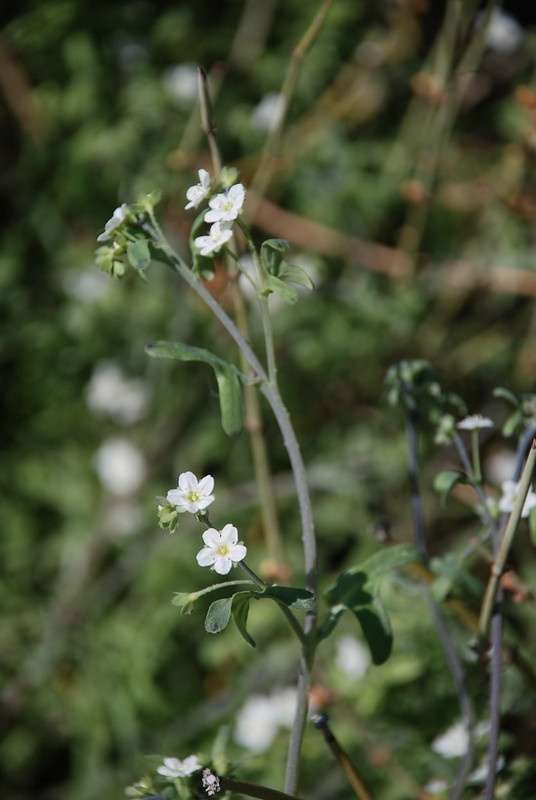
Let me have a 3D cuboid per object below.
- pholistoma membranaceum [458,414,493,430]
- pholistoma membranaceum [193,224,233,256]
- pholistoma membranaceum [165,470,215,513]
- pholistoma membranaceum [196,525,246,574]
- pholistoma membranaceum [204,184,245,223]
[{"bbox_3d":[0.288,0.030,1.174,0.043,0.016,0.040,-2,5,-12],"label":"pholistoma membranaceum"},{"bbox_3d":[-0.065,-0.187,0.998,0.049,0.039,0.029,-8,25,8],"label":"pholistoma membranaceum"},{"bbox_3d":[-0.083,0.105,0.946,0.041,0.037,0.043,10,31,39],"label":"pholistoma membranaceum"},{"bbox_3d":[-0.052,0.163,0.936,0.049,0.012,0.051,-8,16,33],"label":"pholistoma membranaceum"},{"bbox_3d":[-0.050,-0.227,0.979,0.047,0.036,0.036,-3,25,17],"label":"pholistoma membranaceum"}]
